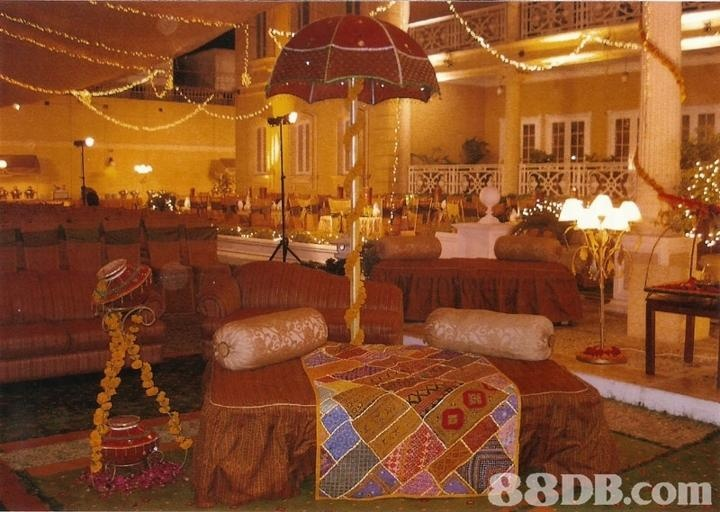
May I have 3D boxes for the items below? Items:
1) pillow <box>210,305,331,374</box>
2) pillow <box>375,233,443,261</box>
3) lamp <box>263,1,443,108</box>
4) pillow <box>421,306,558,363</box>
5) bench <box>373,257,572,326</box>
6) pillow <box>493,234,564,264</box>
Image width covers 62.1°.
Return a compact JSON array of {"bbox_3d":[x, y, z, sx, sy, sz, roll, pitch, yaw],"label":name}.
[{"bbox_3d":[-0.637,0.553,4.459,0.784,0.377,0.327,-12,40,-31],"label":"pillow"},{"bbox_3d":[0.652,-0.100,7.921,0.623,0.296,0.328,-2,33,1],"label":"pillow"},{"bbox_3d":[-0.091,-1.586,5.155,1.118,0.486,1.125,-2,7,-8],"label":"lamp"},{"bbox_3d":[0.988,0.516,4.599,0.844,0.308,0.412,2,27,28],"label":"pillow"},{"bbox_3d":[1.538,0.256,7.628,1.739,0.535,1.055,2,10,6],"label":"bench"},{"bbox_3d":[2.168,-0.094,7.722,0.701,0.361,0.310,3,13,25],"label":"pillow"}]
